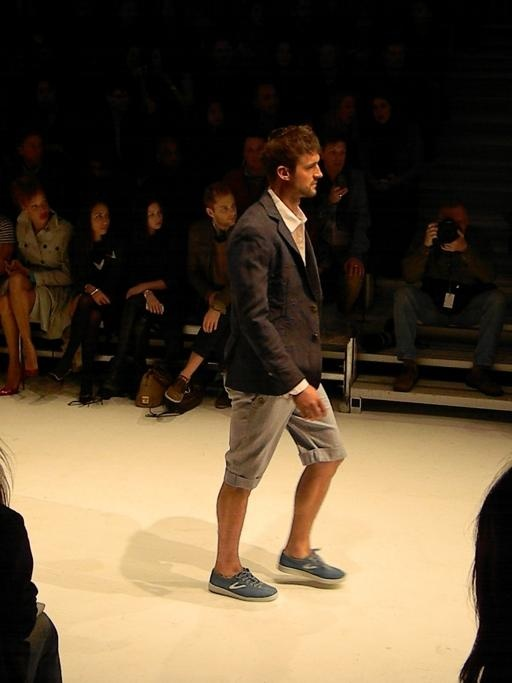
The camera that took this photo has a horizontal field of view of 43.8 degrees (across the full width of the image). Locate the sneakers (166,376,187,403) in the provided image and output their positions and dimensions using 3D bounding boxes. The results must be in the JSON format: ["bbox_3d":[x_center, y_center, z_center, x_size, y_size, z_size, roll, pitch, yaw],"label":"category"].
[{"bbox_3d":[-0.499,0.311,4.002,0.090,0.085,0.210,29,9,-2],"label":"sneakers"}]

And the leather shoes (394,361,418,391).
[{"bbox_3d":[0.963,0.220,4.040,0.139,0.127,0.246,11,7,15],"label":"leather shoes"}]

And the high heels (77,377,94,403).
[{"bbox_3d":[-1.114,0.334,4.213,0.093,0.153,0.124,9,7,-14],"label":"high heels"}]

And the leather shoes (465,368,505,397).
[{"bbox_3d":[1.391,0.241,3.924,0.110,0.110,0.263,-20,28,-31],"label":"leather shoes"}]

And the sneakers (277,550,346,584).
[{"bbox_3d":[0.188,0.748,2.135,0.234,0.088,0.087,10,-1,9],"label":"sneakers"}]

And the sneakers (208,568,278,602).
[{"bbox_3d":[-0.034,0.760,2.013,0.223,0.078,0.080,4,2,13],"label":"sneakers"}]

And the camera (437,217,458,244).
[{"bbox_3d":[1.199,-0.692,3.974,0.130,0.146,0.053,4,6,12],"label":"camera"}]

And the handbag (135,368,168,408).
[{"bbox_3d":[-0.664,0.308,4.102,0.141,0.181,0.241,9,9,9],"label":"handbag"}]

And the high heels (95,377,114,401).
[{"bbox_3d":[-1.024,0.346,4.356,0.121,0.133,0.154,2,-1,-1],"label":"high heels"}]
